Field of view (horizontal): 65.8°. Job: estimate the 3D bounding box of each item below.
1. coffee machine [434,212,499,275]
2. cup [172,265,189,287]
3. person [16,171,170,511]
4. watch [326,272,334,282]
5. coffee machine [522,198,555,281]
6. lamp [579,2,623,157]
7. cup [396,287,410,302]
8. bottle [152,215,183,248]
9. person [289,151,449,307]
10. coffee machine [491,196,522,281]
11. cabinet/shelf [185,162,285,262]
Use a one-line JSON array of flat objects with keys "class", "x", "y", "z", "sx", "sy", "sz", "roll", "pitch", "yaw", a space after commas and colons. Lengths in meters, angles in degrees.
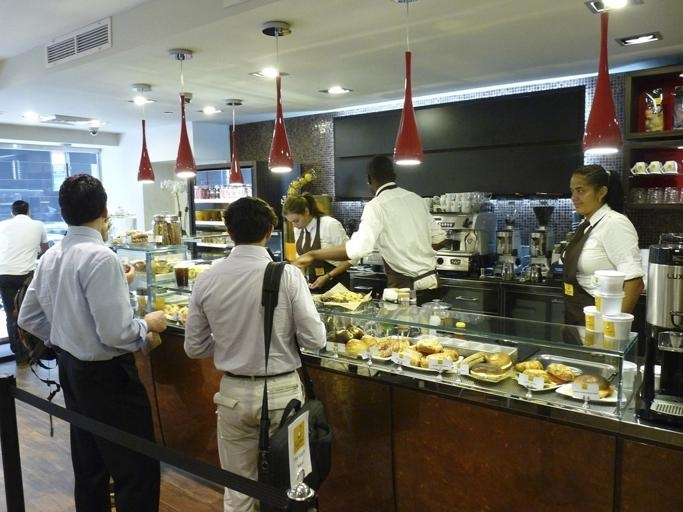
[{"class": "coffee machine", "x": 1.315, "y": -0.151, "z": 5.637, "sx": 0.807, "sy": 0.601, "sz": 0.634, "roll": -5, "pitch": 5, "yaw": -40}, {"class": "cup", "x": -1.108, "y": 0.149, "z": 3.673, "sx": 0.131, "sy": 0.148, "sz": 0.131, "roll": 0, "pitch": 1, "yaw": 0}, {"class": "person", "x": -1.355, "y": 0.520, "z": 2.941, "sx": 0.694, "sy": 1.929, "sz": 0.397, "roll": 3, "pitch": 8, "yaw": 38}, {"class": "watch", "x": -0.086, "y": 0.159, "z": 4.032, "sx": 0.041, "sy": 0.062, "sz": 0.059, "roll": -4, "pitch": -3, "yaw": 0}, {"class": "coffee machine", "x": 1.943, "y": -0.125, "z": 5.132, "sx": 0.198, "sy": 0.704, "sz": 0.380, "roll": 1, "pitch": 7, "yaw": 21}, {"class": "lamp", "x": 1.400, "y": -0.932, "z": 2.811, "sx": 0.181, "sy": 0.746, "sz": 0.217, "roll": 2, "pitch": 7, "yaw": 28}, {"class": "cup", "x": 0.389, "y": 0.248, "z": 3.286, "sx": 0.073, "sy": 0.070, "sz": 0.072, "roll": 0, "pitch": -6, "yaw": 0}, {"class": "bottle", "x": -1.309, "y": -0.180, "z": 4.025, "sx": 0.227, "sy": 0.252, "sz": 0.227, "roll": -2, "pitch": 5, "yaw": -37}, {"class": "person", "x": 0.291, "y": -0.237, "z": 4.627, "sx": 1.357, "sy": 1.873, "sz": 0.708, "roll": -14, "pitch": 19, "yaw": -29}, {"class": "coffee machine", "x": 1.706, "y": -0.187, "z": 5.455, "sx": 0.283, "sy": 0.758, "sz": 0.736, "roll": 0, "pitch": 7, "yaw": 16}, {"class": "cabinet/shelf", "x": -1.797, "y": -0.601, "z": 7.655, "sx": 1.181, "sy": 1.366, "sz": 0.457, "roll": 5, "pitch": -9, "yaw": 31}]
